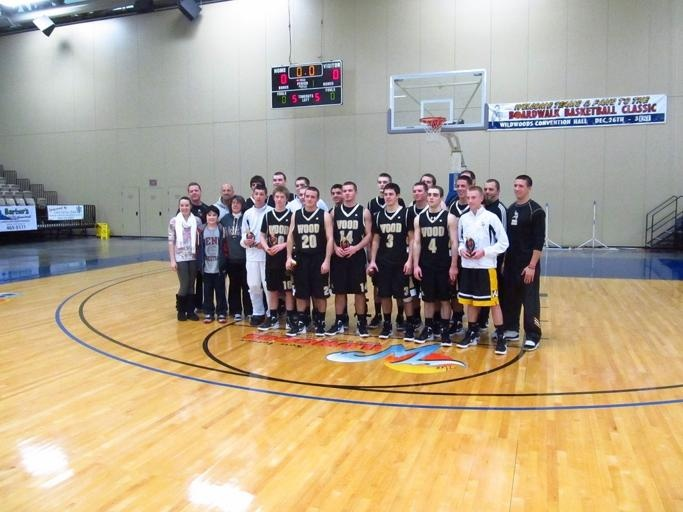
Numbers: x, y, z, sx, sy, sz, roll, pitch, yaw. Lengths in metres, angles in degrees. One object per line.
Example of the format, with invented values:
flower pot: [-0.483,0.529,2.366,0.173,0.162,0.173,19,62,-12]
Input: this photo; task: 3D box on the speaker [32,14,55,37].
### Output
speaker: [-11.844,-9.270,20.260,0.578,0.497,0.505,42,15,34]

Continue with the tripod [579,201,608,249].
tripod: [7.843,-0.971,15.641,0.816,1.422,0.094,3,11,18]
